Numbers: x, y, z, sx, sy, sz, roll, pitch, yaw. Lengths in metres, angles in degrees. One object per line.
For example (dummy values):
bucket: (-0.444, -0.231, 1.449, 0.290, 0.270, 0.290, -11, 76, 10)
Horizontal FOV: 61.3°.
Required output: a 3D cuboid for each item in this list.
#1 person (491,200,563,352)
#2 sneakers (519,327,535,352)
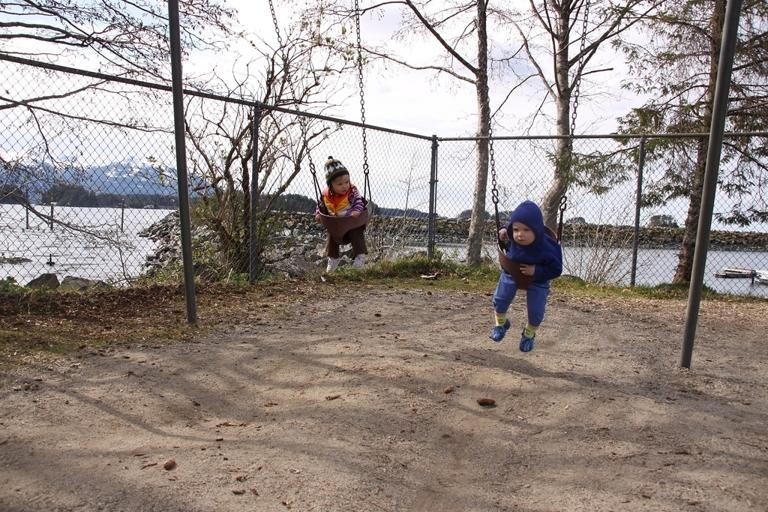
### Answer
person: (1.533, 0.247, 6.948, 0.696, 1.650, 0.327, 2, 7, 11)
sneakers: (1.568, 0.925, 7.074, 0.137, 0.304, 0.127, 4, 15, 13)
